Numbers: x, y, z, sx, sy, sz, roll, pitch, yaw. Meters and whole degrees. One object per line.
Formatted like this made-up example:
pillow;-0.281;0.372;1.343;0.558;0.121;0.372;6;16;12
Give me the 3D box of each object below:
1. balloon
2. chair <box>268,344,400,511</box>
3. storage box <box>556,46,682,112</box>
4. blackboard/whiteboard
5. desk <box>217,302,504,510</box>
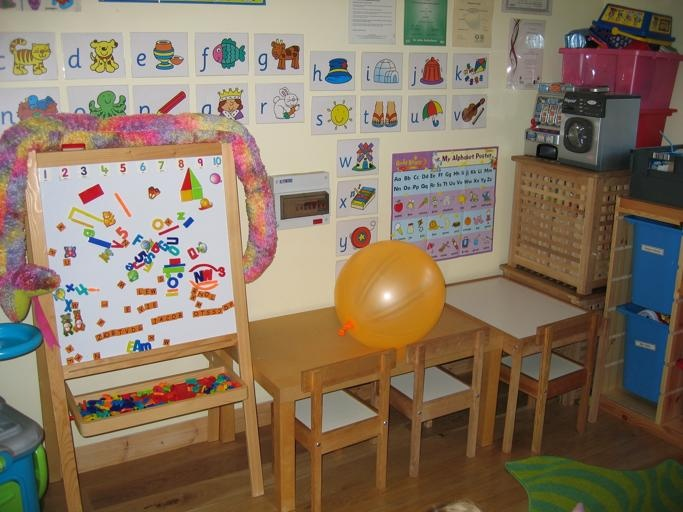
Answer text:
balloon;0.218;0.187;2.393;0.476;0.453;0.269;-4;19;-2
chair;-0.035;0.729;2.335;0.467;0.646;0.449;-10;28;-25
storage box;1.549;-0.987;3.065;0.537;0.278;0.376;12;18;37
blackboard/whiteboard;-0.769;-0.007;2.039;0.826;0.820;0.307;-9;15;-28
desk;0.042;0.867;2.735;1.353;0.780;0.724;-10;25;-22
